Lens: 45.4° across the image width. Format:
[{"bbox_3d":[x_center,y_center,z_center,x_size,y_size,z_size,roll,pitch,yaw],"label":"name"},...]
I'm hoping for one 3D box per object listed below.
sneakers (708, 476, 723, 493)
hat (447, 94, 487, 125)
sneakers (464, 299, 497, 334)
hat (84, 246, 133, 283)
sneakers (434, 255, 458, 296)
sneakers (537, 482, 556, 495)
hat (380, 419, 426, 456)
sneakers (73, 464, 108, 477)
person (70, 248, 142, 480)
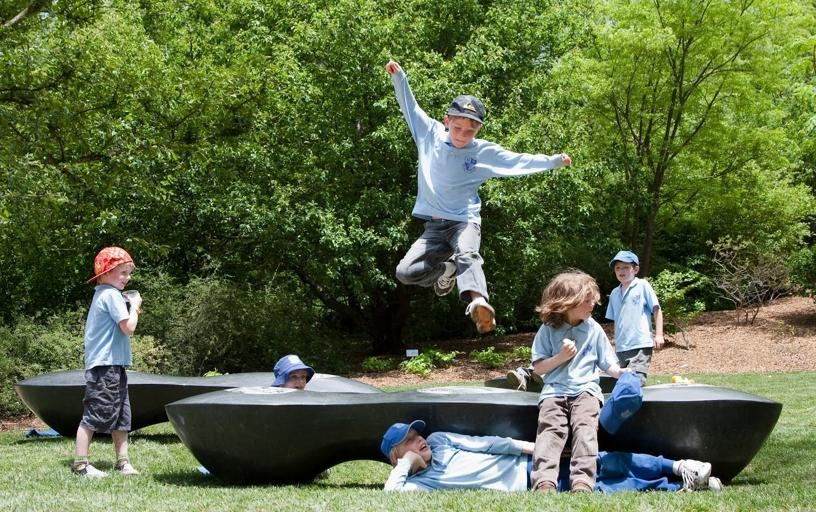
[{"bbox_3d":[4.264,3.138,13.441,0.176,0.155,0.327,8,15,38],"label":"sneakers"},{"bbox_3d":[0.867,-2.205,14.568,0.546,0.413,0.313,-1,13,1],"label":"hat"},{"bbox_3d":[1.104,0.837,14.344,0.191,0.481,0.265,14,49,-4],"label":"sneakers"},{"bbox_3d":[-4.434,0.056,14.658,0.838,0.392,0.613,-18,4,-30],"label":"hat"},{"bbox_3d":[0.581,0.397,14.965,0.211,0.240,0.537,22,44,6],"label":"sneakers"},{"bbox_3d":[1.888,3.183,13.300,0.291,0.101,0.294,1,12,9],"label":"sneakers"},{"bbox_3d":[-0.072,2.496,13.801,0.335,0.638,0.390,42,11,-7],"label":"hat"},{"bbox_3d":[-4.594,3.101,14.064,0.488,0.188,0.179,1,-3,7],"label":"sneakers"},{"bbox_3d":[-4.439,1.541,14.327,0.966,3.222,1.396,-2,13,-1],"label":"person"}]
